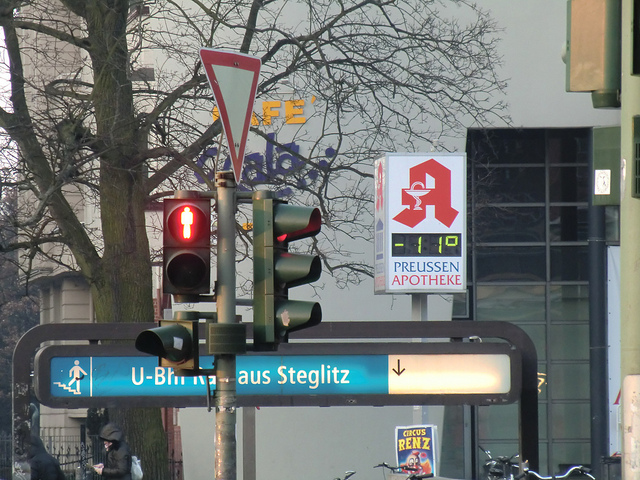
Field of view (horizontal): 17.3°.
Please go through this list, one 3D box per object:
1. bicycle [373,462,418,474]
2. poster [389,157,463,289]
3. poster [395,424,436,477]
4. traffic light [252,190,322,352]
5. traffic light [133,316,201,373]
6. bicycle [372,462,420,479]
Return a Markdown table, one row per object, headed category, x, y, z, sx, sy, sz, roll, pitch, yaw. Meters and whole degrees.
| category | x | y | z | sx | sy | sz | roll | pitch | yaw |
| --- | --- | --- | --- | --- | --- | --- | --- | --- | --- |
| bicycle | 1.650 | 4.754 | 43.315 | 0.490 | 0.247 | 1.220 | 0 | -8 | -37 |
| poster | 2.180 | -0.338 | 43.195 | 1.586 | 2.739 | 0.310 | -4 | -5 | -6 |
| poster | 2.018 | 4.426 | 43.880 | 0.829 | 1.038 | 0.344 | -5 | -6 | 3 |
| traffic light | -0.649 | 0.535 | 36.448 | 1.110 | 2.821 | 0.686 | 2 | 7 | 19 |
| traffic light | -2.642 | 1.835 | 36.141 | 1.030 | 0.955 | 0.411 | -4 | -6 | -8 |
| bicycle | 1.566 | 4.838 | 43.616 | 0.685 | 0.338 | 1.877 | -3 | -7 | -14 |
